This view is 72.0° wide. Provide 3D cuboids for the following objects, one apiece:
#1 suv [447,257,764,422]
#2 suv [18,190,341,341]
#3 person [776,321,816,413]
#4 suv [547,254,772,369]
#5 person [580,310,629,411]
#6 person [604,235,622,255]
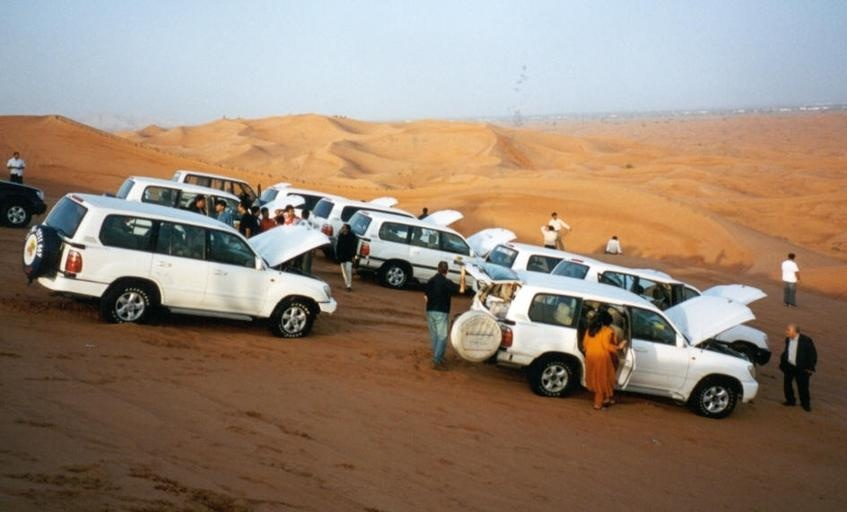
[{"bbox_3d":[4.062,2.164,14.202,7.298,2.787,3.193,6,11,-9],"label":"suv"},{"bbox_3d":[-5.562,0.334,14.324,6.709,2.357,2.963,6,8,-28],"label":"suv"},{"bbox_3d":[9.166,2.719,14.330,0.750,2.095,0.402,9,9,27],"label":"person"},{"bbox_3d":[6.585,1.803,16.824,6.537,2.672,2.902,1,13,-4],"label":"suv"},{"bbox_3d":[3.942,2.316,12.997,0.866,2.295,0.542,3,8,-13],"label":"person"},{"bbox_3d":[10.066,-0.546,31.167,0.809,1.386,0.523,14,24,35],"label":"person"}]
